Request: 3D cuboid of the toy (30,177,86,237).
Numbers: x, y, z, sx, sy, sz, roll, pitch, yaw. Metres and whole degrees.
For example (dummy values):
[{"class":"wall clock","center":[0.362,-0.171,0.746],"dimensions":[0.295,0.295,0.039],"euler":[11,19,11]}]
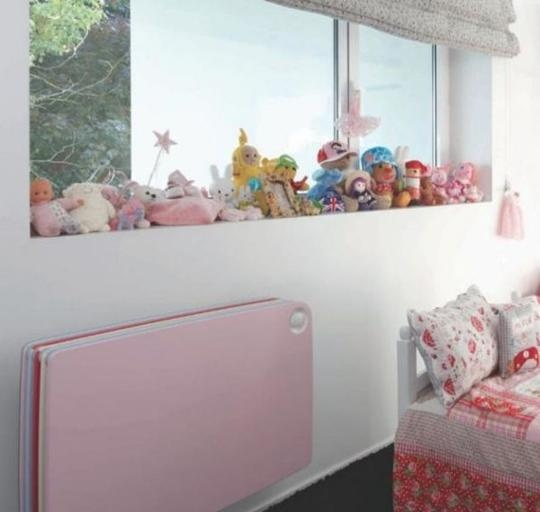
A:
[{"class":"toy","center":[-0.478,-0.110,1.178],"dimensions":[0.116,0.120,0.128],"euler":[-5,10,-21]}]
